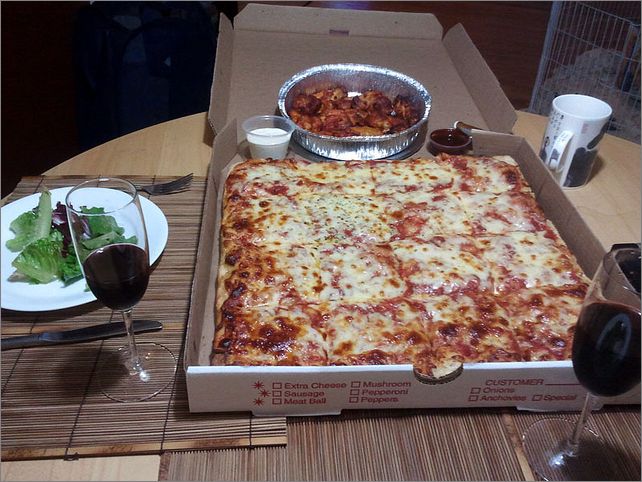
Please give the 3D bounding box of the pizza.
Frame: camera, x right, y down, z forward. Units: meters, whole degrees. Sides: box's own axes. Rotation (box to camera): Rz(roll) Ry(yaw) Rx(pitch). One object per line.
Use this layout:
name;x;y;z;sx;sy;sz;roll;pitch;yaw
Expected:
pizza;0.319;-0.058;2.106;1.880;0.510;1.342;-5;25;-12

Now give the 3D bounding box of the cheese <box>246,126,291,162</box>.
cheese;-0.227;-0.426;2.178;0.323;0.120;0.291;-1;23;-1

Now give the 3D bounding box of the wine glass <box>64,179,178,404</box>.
wine glass;-0.519;0.134;1.282;0.209;0.504;0.200;-8;22;-11

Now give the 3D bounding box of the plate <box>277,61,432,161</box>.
plate;0.159;-0.629;2.395;0.726;0.167;0.740;26;49;22

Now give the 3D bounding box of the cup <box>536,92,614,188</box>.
cup;1.001;-0.374;2.050;0.229;0.418;0.250;2;31;-1

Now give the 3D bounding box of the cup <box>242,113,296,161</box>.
cup;-0.231;-0.458;2.158;0.259;0.141;0.229;-10;43;-14
